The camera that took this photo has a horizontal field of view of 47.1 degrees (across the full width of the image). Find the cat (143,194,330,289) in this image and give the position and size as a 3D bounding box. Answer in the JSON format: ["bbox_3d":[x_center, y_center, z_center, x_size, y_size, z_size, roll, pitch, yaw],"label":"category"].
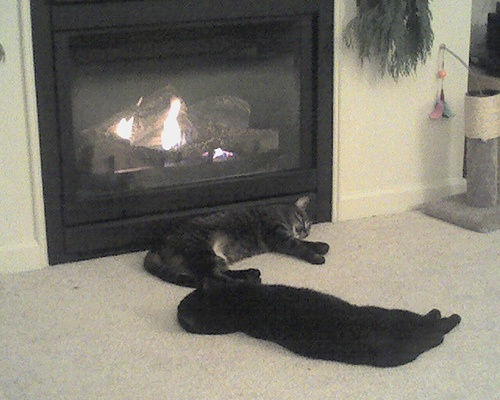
[{"bbox_3d":[-0.072,0.204,3.045,0.729,0.228,0.462,-9,15,-9],"label":"cat"}]
